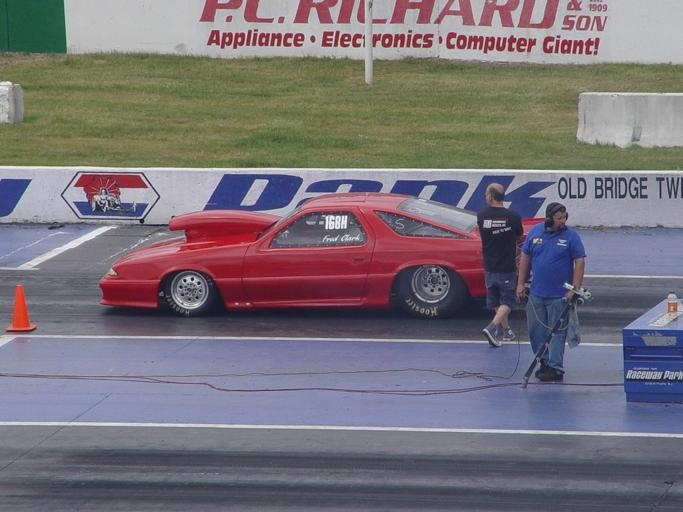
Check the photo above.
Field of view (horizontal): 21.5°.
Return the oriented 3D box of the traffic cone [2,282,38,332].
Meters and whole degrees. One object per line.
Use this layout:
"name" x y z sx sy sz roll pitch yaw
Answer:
"traffic cone" -6.686 0.936 37.360 0.628 0.966 1.085 0 11 -11
